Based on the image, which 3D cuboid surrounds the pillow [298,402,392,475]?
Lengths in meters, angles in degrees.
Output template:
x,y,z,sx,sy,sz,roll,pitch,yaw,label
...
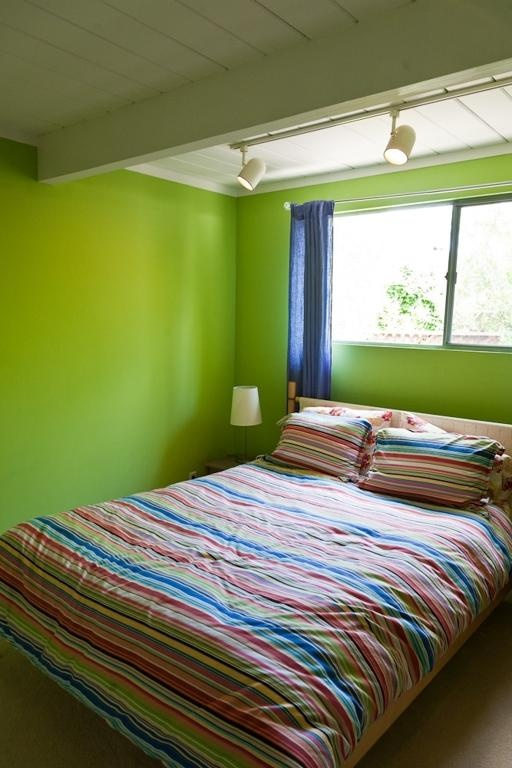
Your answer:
x,y,z,sx,sy,sz,roll,pitch,yaw,label
0.575,0.288,3.305,0.383,0.113,0.356,-2,26,37,pillow
